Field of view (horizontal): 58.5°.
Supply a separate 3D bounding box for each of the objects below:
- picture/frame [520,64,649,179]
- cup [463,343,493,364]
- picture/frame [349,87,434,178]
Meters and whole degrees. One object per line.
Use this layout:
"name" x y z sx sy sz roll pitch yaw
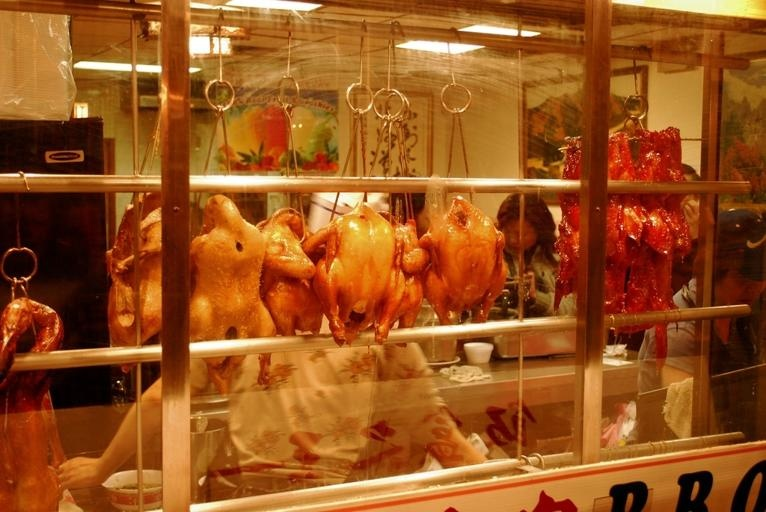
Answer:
"picture/frame" 0.639 -0.453 2.236 0.394 0.397 0.023 -5 12 -13
"cup" 0.303 0.314 2.196 0.075 0.048 0.076 1 2 0
"picture/frame" 0.034 -0.386 2.316 0.273 0.268 0.286 -1 -9 -23
